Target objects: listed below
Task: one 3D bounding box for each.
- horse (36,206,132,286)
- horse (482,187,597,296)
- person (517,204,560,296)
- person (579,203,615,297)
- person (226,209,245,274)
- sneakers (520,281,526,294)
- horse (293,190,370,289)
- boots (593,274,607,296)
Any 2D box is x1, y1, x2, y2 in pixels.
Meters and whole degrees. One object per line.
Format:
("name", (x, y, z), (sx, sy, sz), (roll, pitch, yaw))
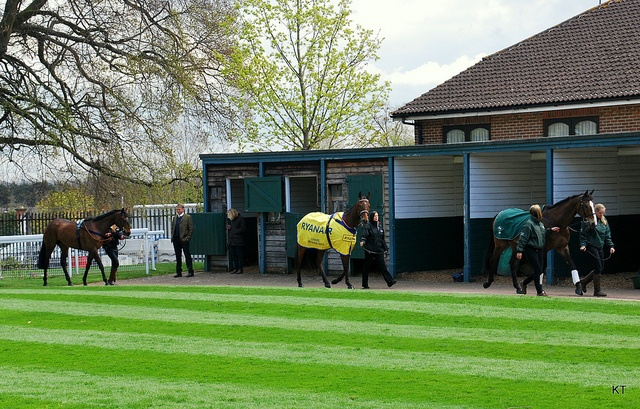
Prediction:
("horse", (-8.058, 1.547, 36.304), (3.743, 2.660, 0.887), (-1, 0, 22))
("horse", (7.158, 1.258, 34.417), (1.344, 3.217, 4.823), (-2, -1, -37))
("person", (6.837, 1.444, 33.402), (1.091, 2.873, 0.984), (-1, -6, 20))
("person", (8.814, 1.464, 33.633), (0.990, 2.914, 1.238), (-2, -6, 21))
("person", (-3.160, 1.438, 40.151), (0.647, 2.406, 1.109), (1, -5, -5))
("sneakers", (6.547, 2.702, 33.878), (0.201, 0.443, 0.155), (-5, 4, 10))
("horse", (0.530, 1.339, 35.545), (1.147, 3.214, 3.874), (0, -1, -41))
("boots", (8.989, 2.595, 33.824), (0.416, 0.695, 0.846), (-1, -5, 15))
